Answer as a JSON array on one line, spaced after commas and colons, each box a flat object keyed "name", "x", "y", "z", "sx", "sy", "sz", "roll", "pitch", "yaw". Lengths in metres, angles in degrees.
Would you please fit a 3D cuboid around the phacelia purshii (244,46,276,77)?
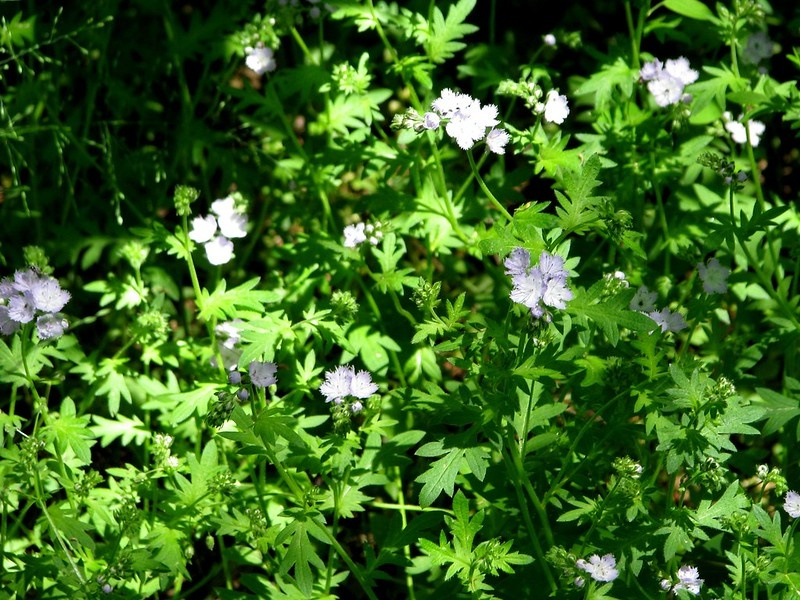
[{"name": "phacelia purshii", "x": -0.697, "y": -1.182, "z": 4.186, "sx": 0.130, "sy": 0.175, "sz": 0.124, "roll": 2, "pitch": 46, "yaw": -19}]

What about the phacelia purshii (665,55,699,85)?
[{"name": "phacelia purshii", "x": 1.376, "y": -1.140, "z": 4.116, "sx": 0.170, "sy": 0.077, "sz": 0.148, "roll": 38, "pitch": 47, "yaw": 10}]
